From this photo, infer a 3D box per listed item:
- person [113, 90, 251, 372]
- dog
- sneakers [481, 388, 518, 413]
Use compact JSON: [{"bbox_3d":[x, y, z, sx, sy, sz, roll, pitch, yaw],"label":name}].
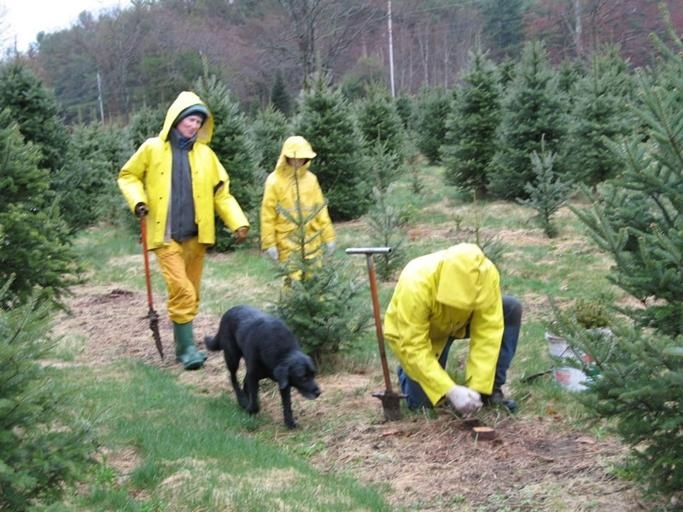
[{"bbox_3d":[-1.943,-0.335,8.248,0.974,3.346,1.219,9,10,36],"label":"person"},{"bbox_3d":[-0.797,1.111,6.894,0.419,1.020,1.547,-2,10,-36],"label":"dog"},{"bbox_3d":[1.460,1.340,6.271,0.385,0.276,0.141,-3,8,7],"label":"sneakers"}]
